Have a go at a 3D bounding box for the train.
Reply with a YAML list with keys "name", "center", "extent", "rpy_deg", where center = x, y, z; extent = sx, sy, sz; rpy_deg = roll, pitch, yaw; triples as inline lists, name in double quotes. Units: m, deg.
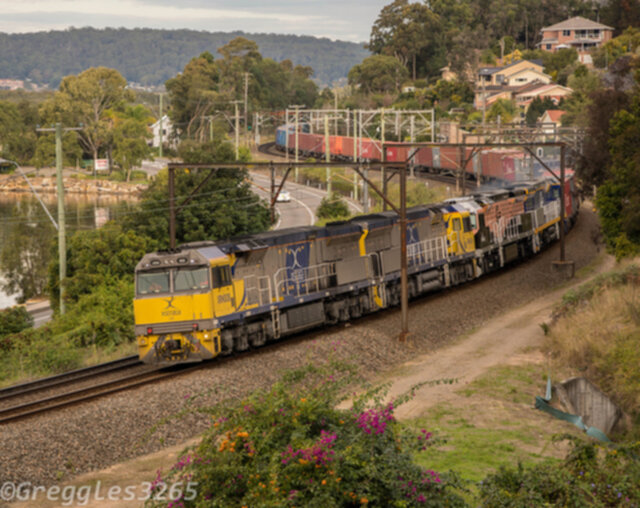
- name: "train"
  center: [1.376, -0.348, 34.546]
  extent: [2.686, 5.467, 22.525]
  rpy_deg: [-10, 3, 32]
